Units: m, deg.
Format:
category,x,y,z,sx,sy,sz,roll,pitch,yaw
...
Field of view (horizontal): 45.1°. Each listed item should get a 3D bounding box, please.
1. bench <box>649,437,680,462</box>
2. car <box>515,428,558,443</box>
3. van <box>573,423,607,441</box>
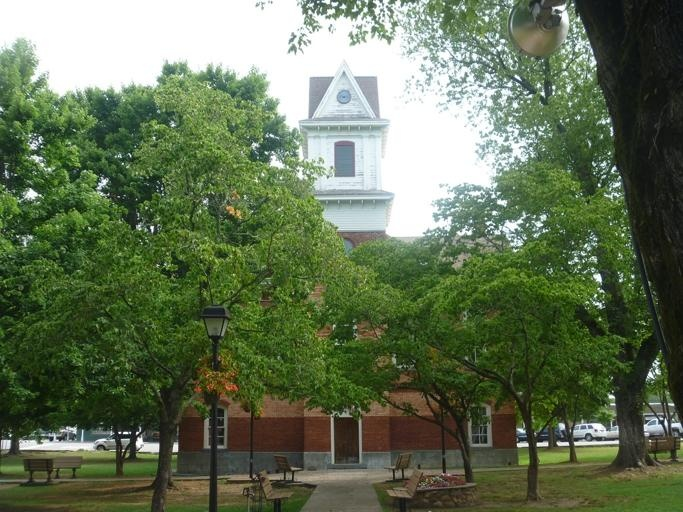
category,x,y,z,sx,sy,sz,roll,pitch,yaw
bench,16.112,9.710,41.323,1.460,1.188,1.050,-2,-24,7
car,15.385,14.315,65.812,3.296,1.257,7.952,-8,-16,20
van,20.018,14.330,66.747,2.528,1.363,1.058,-7,-14,18
